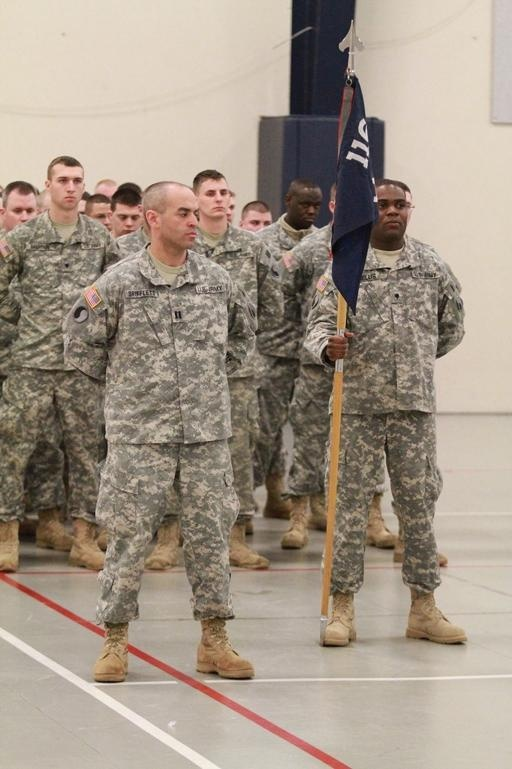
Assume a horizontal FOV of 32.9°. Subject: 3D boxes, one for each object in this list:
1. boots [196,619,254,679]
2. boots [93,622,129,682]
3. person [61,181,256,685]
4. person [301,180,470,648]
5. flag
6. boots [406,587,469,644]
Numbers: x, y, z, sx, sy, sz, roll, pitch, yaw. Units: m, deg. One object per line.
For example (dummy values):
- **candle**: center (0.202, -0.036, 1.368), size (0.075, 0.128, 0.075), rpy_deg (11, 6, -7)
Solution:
- **boots**: center (-0.096, 0.890, 2.914), size (0.105, 0.180, 0.278), rpy_deg (7, -10, -39)
- **boots**: center (-0.471, 0.870, 2.862), size (0.105, 0.150, 0.268), rpy_deg (1, -1, 2)
- **person**: center (-0.321, 0.142, 2.923), size (0.644, 1.103, 0.365), rpy_deg (2, -1, -12)
- **person**: center (0.558, 0.103, 3.415), size (0.609, 1.804, 0.337), rpy_deg (2, -1, -12)
- **flag**: center (0.367, -0.714, 3.210), size (0.159, 0.898, 0.219), rpy_deg (2, -1, 6)
- **boots**: center (0.716, 0.919, 3.393), size (0.105, 0.172, 0.276), rpy_deg (6, -8, -40)
